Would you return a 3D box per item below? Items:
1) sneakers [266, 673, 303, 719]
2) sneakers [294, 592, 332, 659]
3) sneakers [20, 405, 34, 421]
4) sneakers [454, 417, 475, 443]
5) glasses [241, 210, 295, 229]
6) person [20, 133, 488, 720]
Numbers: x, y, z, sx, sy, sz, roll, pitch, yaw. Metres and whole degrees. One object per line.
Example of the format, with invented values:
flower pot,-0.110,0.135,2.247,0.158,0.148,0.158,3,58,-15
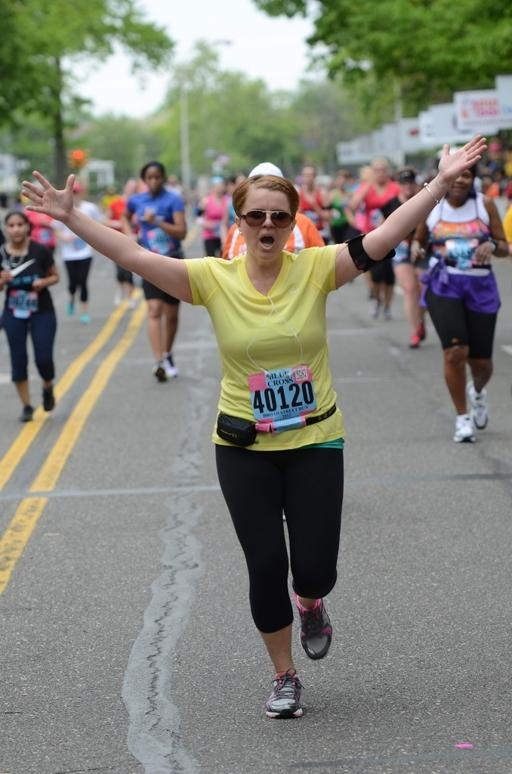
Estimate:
sneakers,0.080,0.862,2.337,0.069,0.069,0.164,0,-3,0
sneakers,0.171,0.707,2.459,0.090,0.233,0.096,-9,4,17
sneakers,-1.935,0.231,7.110,0.068,0.118,0.180,0,12,-18
sneakers,1.523,0.300,6.175,0.116,0.114,0.267,0,12,5
glasses,0.027,-0.440,2.206,0.134,0.053,0.055,-5,9,0
person,0.070,0.151,2.389,1.152,1.557,0.402,-7,9,-10
